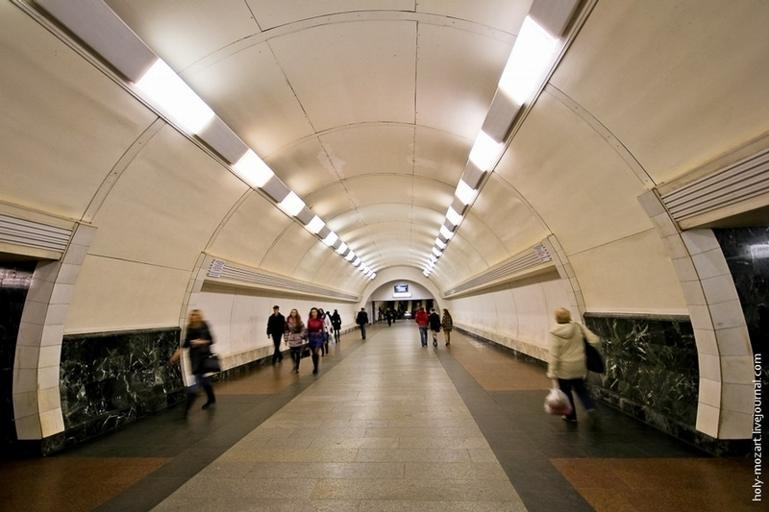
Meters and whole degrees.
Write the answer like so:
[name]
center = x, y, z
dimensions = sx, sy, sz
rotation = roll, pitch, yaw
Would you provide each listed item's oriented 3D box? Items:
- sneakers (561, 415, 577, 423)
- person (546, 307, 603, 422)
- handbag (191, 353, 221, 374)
[sneakers]
center = 3.068, 2.668, 6.348
dimensions = 0.240, 0.171, 0.093
rotation = -16, -13, 33
[person]
center = 3.118, 1.788, 6.267
dimensions = 0.780, 1.855, 0.478
rotation = -2, -2, 25
[handbag]
center = -3.430, 2.070, 7.461
dimensions = 0.496, 0.339, 0.285
rotation = 1, -5, 24
